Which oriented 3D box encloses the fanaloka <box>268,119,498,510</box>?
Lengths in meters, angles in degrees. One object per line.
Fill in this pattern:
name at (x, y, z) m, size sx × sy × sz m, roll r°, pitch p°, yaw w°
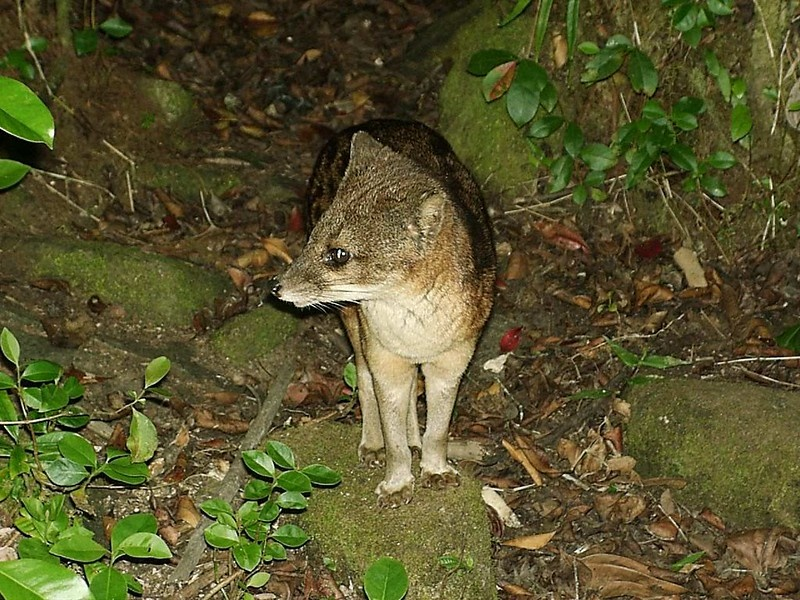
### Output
fanaloka at (-0.047, -0.525, 7.298) m, size 1.444 × 3.136 × 2.247 m, roll -2°, pitch -68°, yaw -6°
